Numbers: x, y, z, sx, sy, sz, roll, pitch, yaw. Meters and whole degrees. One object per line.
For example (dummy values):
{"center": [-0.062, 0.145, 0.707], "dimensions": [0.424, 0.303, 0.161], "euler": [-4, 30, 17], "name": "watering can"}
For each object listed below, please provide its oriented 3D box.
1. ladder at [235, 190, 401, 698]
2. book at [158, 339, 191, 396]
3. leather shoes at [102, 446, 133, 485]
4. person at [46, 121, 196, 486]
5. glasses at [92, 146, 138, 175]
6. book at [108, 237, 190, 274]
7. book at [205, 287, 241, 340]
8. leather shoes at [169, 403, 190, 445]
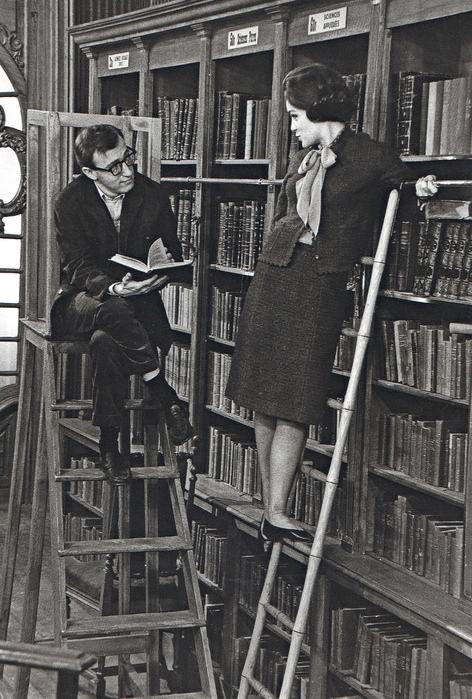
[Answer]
{"center": [0.263, 0.423, 2.764], "dimensions": [0.355, 1.888, 0.540], "euler": [5, 9, -1], "name": "ladder"}
{"center": [-0.280, 0.089, 3.879], "dimensions": [0.110, 0.250, 0.275], "euler": [-10, -1, -21], "name": "book"}
{"center": [-0.382, 0.387, 2.750], "dimensions": [0.064, 0.064, 0.152], "euler": [-2, 10, -16], "name": "leather shoes"}
{"center": [-0.358, -0.256, 2.843], "dimensions": [0.389, 0.968, 0.350], "euler": [-3, 13, -43], "name": "person"}
{"center": [-0.399, -0.633, 2.841], "dimensions": [0.111, 0.035, 0.108], "euler": [6, 33, 37], "name": "glasses"}
{"center": [-0.280, -0.328, 2.851], "dimensions": [0.157, 0.066, 0.159], "euler": [7, 10, 12], "name": "book"}
{"center": [-0.060, -0.176, 3.988], "dimensions": [0.146, 0.232, 0.254], "euler": [8, 8, 2], "name": "book"}
{"center": [-0.199, 0.267, 3.022], "dimensions": [0.090, 0.134, 0.050], "euler": [-22, -11, 20], "name": "leather shoes"}
